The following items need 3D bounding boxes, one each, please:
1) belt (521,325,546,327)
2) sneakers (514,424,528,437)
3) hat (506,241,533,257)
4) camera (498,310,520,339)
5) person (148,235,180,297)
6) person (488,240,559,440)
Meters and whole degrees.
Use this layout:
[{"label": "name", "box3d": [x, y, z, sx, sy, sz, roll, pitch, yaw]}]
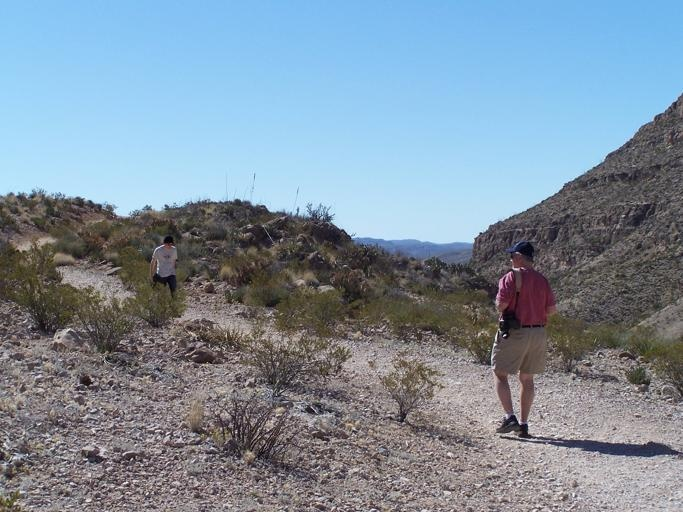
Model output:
[{"label": "belt", "box3d": [2.989, 1.073, 10.035, 0.374, 0.050, 0.085, 5, -1, -19]}, {"label": "sneakers", "box3d": [2.806, 2.693, 10.055, 0.201, 0.235, 0.117, 1, 1, 6]}, {"label": "hat", "box3d": [2.849, -0.105, 10.293, 0.370, 0.240, 0.273, 27, 12, 19]}, {"label": "camera", "box3d": [2.579, 1.042, 10.014, 0.346, 0.398, 0.353, -4, -1, -27]}, {"label": "person", "box3d": [-4.114, 0.158, 15.135, 0.601, 1.396, 0.553, 4, -1, -8]}, {"label": "person", "box3d": [2.811, 1.275, 10.088, 0.853, 2.577, 0.425, 3, -1, 14]}]
